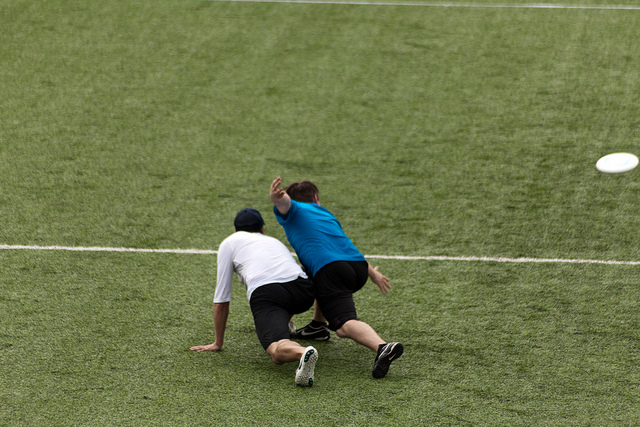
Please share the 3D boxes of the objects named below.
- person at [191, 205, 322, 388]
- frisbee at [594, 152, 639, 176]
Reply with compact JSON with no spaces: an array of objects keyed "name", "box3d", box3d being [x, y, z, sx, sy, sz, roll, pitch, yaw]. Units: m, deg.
[{"name":"person","box3d":[-0.531,0.869,12.862,1.296,0.962,1.926,-16,36,-27]},{"name":"frisbee","box3d":[3.492,-0.609,14.850,0.457,0.282,0.429,10,55,5]}]
